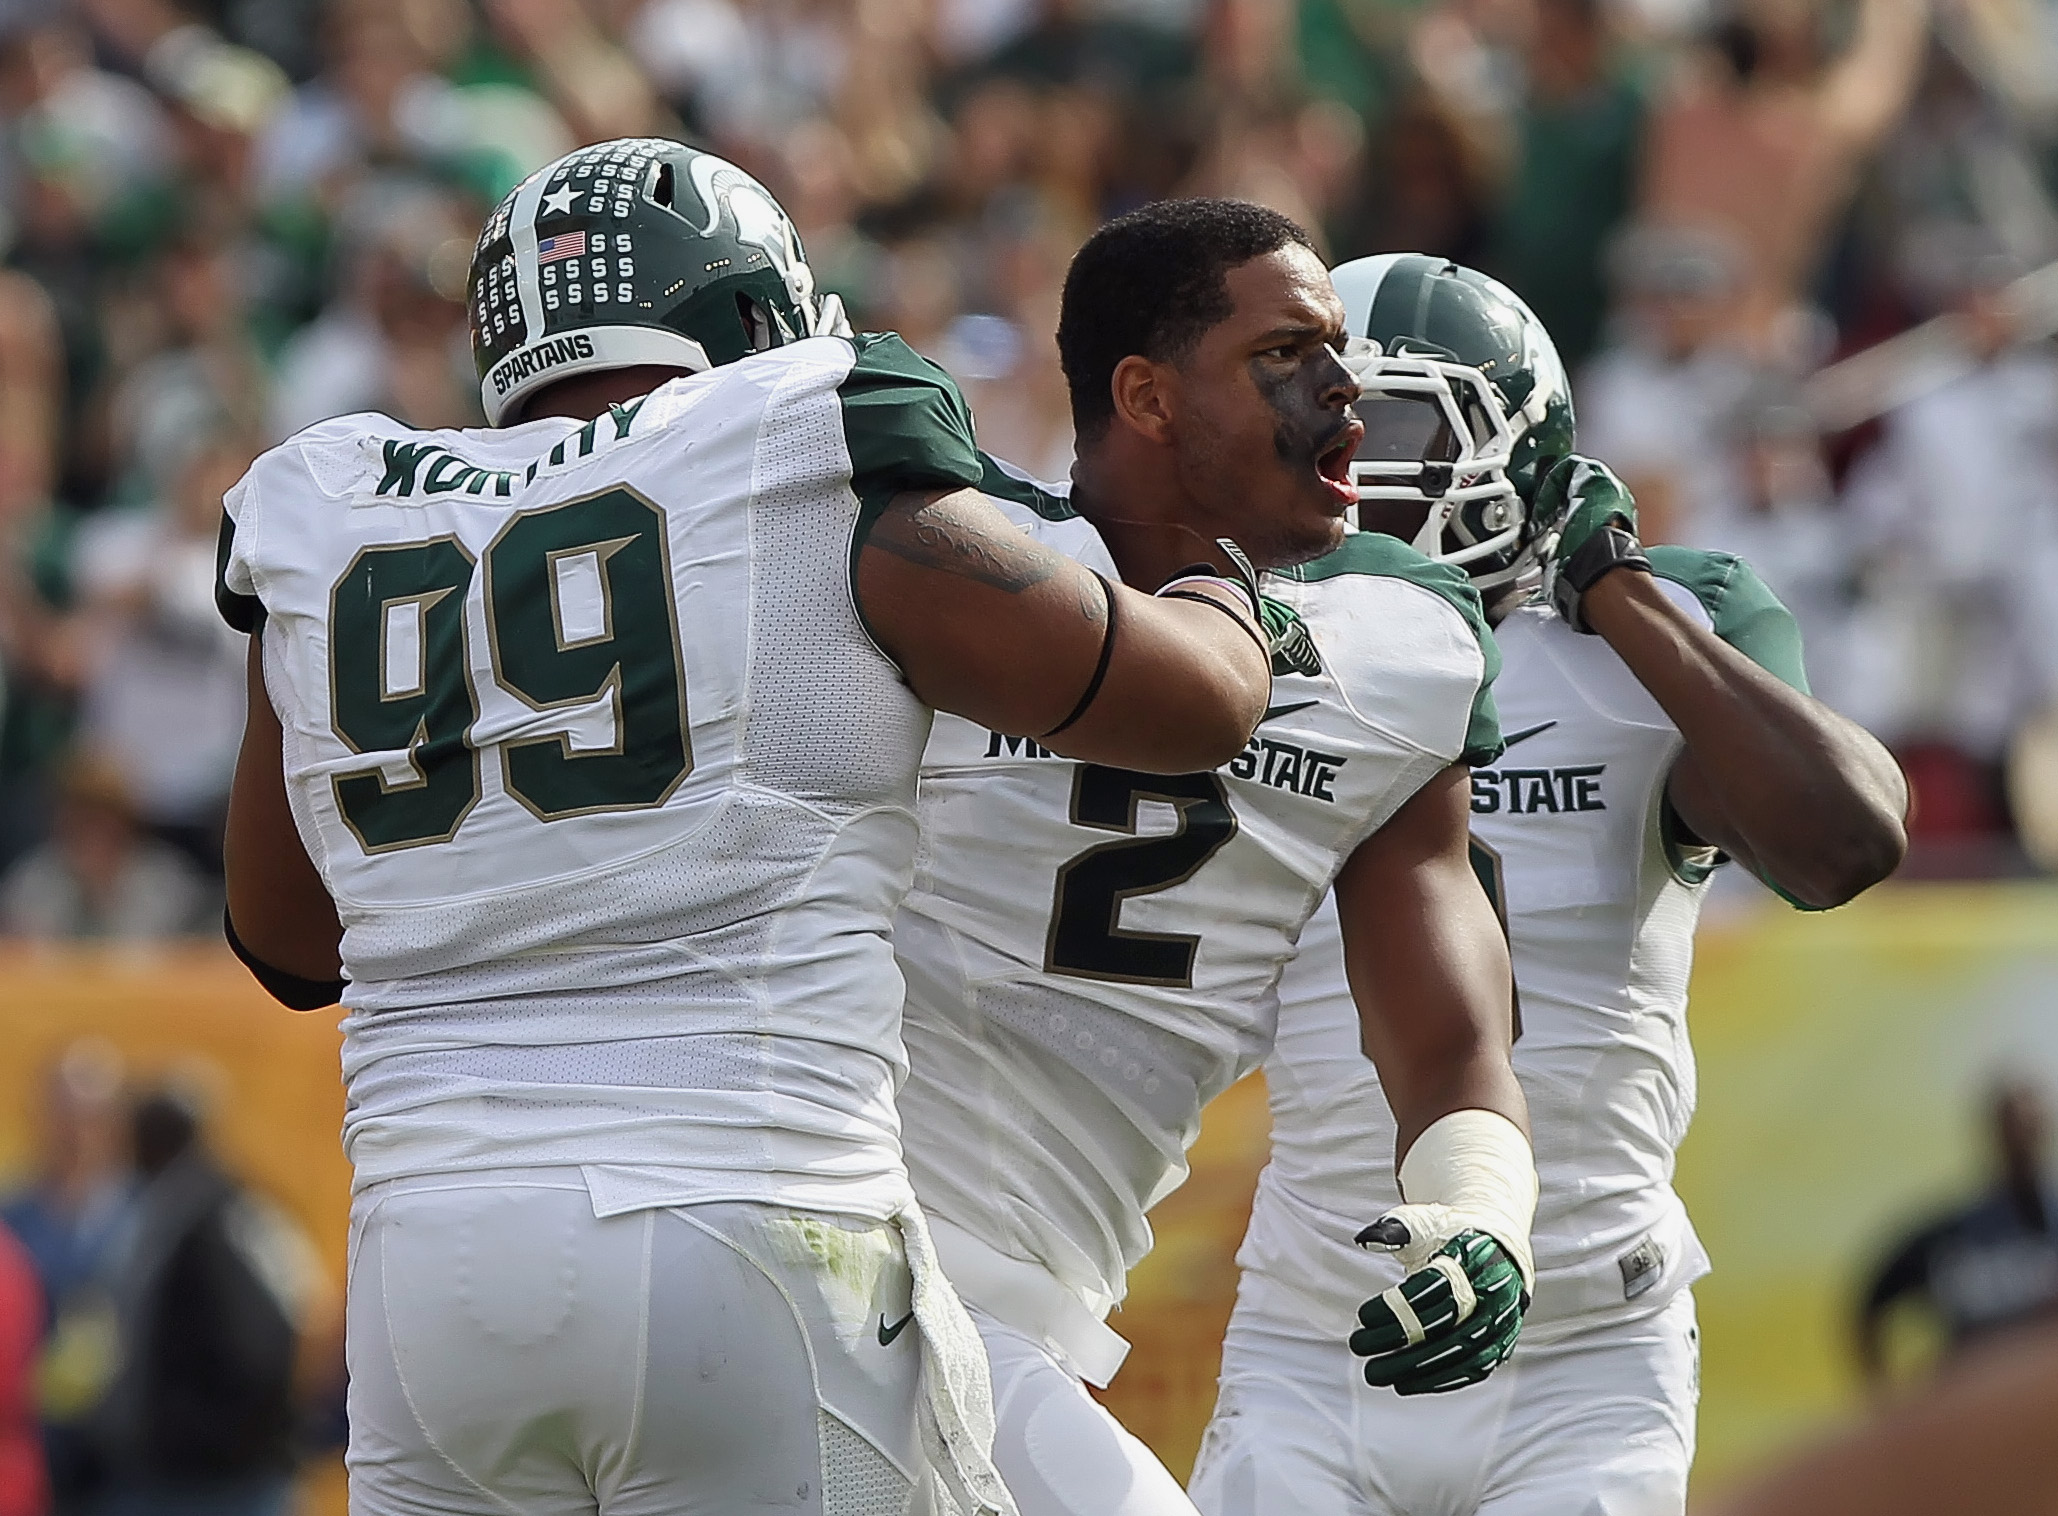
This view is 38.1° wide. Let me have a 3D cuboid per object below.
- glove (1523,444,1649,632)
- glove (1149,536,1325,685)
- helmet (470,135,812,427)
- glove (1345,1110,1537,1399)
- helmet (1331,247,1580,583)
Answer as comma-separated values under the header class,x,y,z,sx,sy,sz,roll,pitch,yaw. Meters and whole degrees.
class,x,y,z,sx,sy,sz,roll,pitch,yaw
glove,1.003,-0.418,5.490,0.213,0.307,0.268,-16,44,-11
glove,0.346,-0.208,4.691,0.221,0.235,0.106,30,37,13
helmet,-0.624,-0.782,4.888,0.510,0.413,0.393,-14,-11,-36
glove,0.624,0.737,4.474,0.239,0.365,0.328,-1,6,16
helmet,0.788,-0.595,5.463,0.444,0.483,0.566,-4,-7,33
